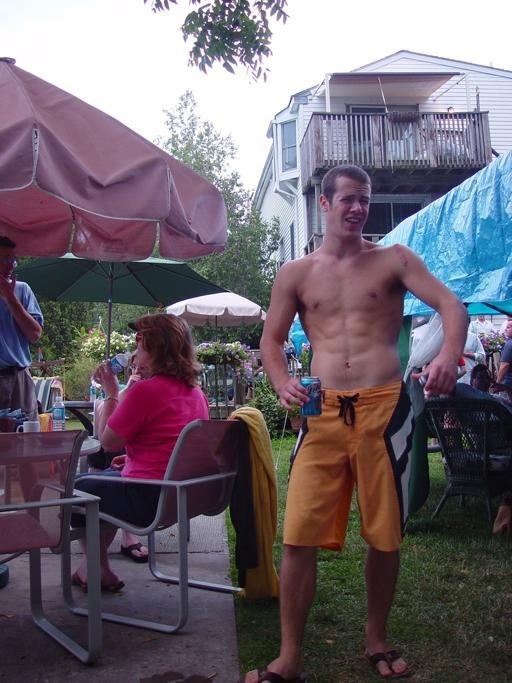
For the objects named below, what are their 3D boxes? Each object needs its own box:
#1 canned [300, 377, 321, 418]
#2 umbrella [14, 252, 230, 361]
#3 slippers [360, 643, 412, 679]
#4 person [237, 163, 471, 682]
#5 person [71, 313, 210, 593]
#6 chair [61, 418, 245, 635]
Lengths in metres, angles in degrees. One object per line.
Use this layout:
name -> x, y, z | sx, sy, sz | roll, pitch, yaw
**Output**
canned -> 0.199, 0.205, 2.364 | 0.069, 0.144, 0.080 | 0, -2, 2
umbrella -> -1.154, -0.459, 5.633 | 1.197, 0.657, 1.122 | -9, -27, 17
slippers -> 0.482, 1.169, 2.384 | 0.109, 0.073, 0.157 | 1, -2, -11
person -> 0.375, 0.247, 2.410 | 0.771, 1.910, 0.505 | 0, -2, 7
person -> -0.573, 0.565, 3.146 | 0.808, 1.350, 0.585 | -5, -6, 15
chair -> -0.279, 0.833, 3.214 | 0.952, 1.017, 0.897 | 0, -8, 21
